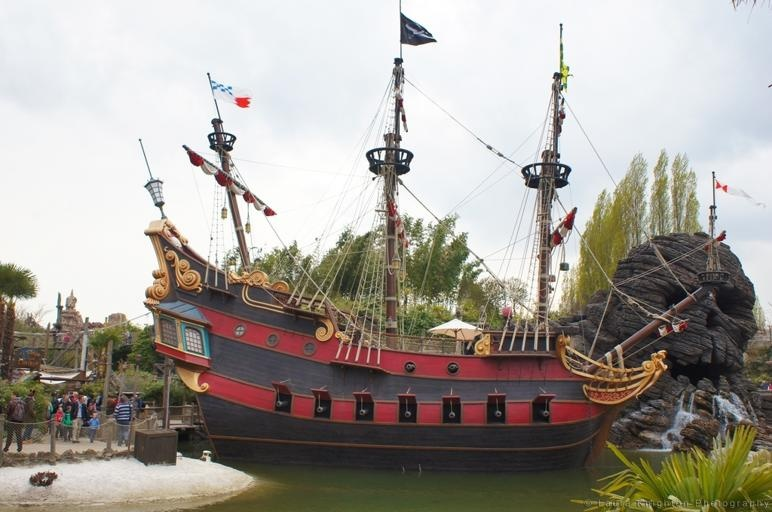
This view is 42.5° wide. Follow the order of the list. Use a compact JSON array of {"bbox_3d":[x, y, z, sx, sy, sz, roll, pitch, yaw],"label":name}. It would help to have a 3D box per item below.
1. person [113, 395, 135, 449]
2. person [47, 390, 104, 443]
[{"bbox_3d":[-10.296,6.386,38.767,0.716,2.069,1.285,6,-17,-13],"label":"person"},{"bbox_3d":[-12.369,6.444,39.396,1.962,1.150,0.973,19,-12,15],"label":"person"}]
